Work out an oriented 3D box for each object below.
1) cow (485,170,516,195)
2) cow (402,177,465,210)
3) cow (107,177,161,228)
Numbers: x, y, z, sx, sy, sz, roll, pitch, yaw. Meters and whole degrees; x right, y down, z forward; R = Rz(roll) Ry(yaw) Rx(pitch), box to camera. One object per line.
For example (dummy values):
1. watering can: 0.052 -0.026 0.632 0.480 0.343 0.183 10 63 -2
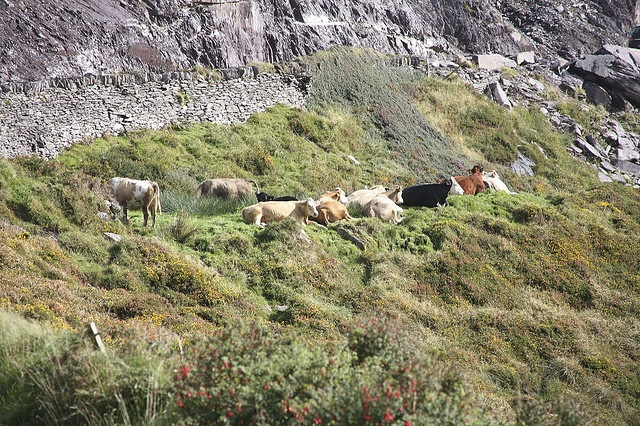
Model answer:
1. cow: 14.227 -2.405 78.258 2.073 1.058 1.795 28 36 -2
2. cow: 8.379 -1.567 74.213 4.254 2.161 1.356 2 17 -5
3. cow: -13.216 -0.828 68.031 4.449 3.212 1.392 9 12 23
